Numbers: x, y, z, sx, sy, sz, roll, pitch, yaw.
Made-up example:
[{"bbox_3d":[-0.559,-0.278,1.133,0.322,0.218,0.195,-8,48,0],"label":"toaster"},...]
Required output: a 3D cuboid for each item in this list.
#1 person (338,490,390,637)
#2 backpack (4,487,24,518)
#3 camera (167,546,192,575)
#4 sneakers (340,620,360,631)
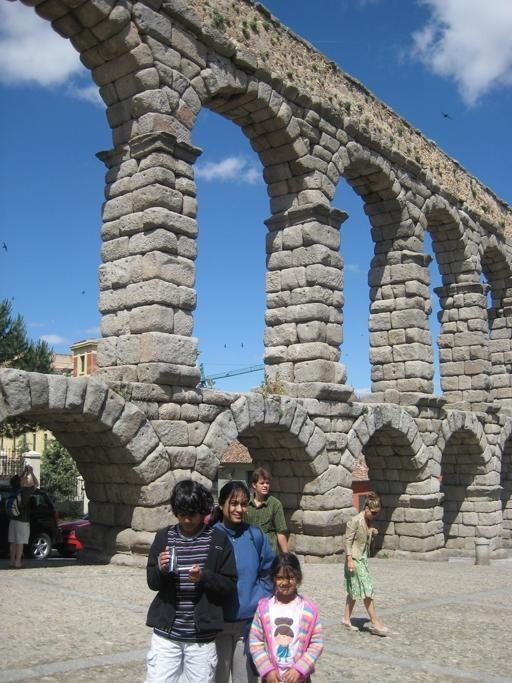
[{"bbox_3d":[1.070,2.074,7.182,0.477,1.232,0.925,6,-10,9],"label":"person"},{"bbox_3d":[-3.111,2.110,9.720,0.298,0.355,0.130,-2,-14,41],"label":"backpack"},{"bbox_3d":[-0.364,1.029,3.521,0.076,0.119,0.151,0,-12,35],"label":"camera"},{"bbox_3d":[0.864,2.595,6.865,0.148,0.069,0.182,5,-9,6],"label":"sneakers"}]
